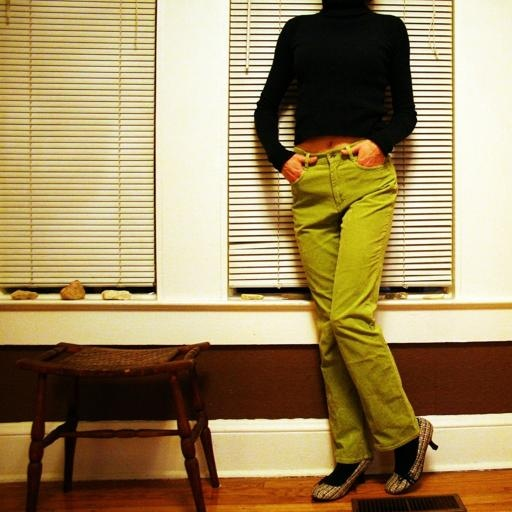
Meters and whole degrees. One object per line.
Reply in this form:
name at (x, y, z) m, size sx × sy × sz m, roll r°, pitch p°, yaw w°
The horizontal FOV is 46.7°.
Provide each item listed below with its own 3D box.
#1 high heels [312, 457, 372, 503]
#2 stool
high heels at (0.288, 0.761, 2.053) m, size 0.264 × 0.113 × 0.088 m, roll -8°, pitch 1°, yaw -41°
stool at (-0.461, 0.463, 2.101) m, size 0.670 × 0.716 × 0.502 m, roll -1°, pitch -8°, yaw 0°
